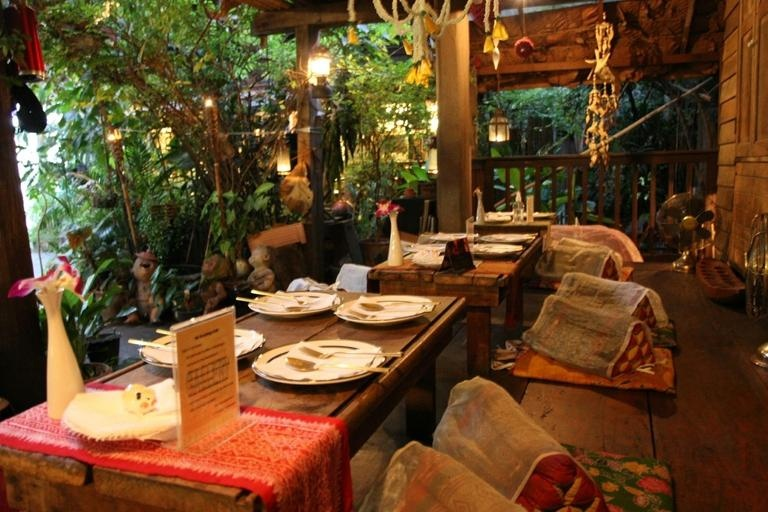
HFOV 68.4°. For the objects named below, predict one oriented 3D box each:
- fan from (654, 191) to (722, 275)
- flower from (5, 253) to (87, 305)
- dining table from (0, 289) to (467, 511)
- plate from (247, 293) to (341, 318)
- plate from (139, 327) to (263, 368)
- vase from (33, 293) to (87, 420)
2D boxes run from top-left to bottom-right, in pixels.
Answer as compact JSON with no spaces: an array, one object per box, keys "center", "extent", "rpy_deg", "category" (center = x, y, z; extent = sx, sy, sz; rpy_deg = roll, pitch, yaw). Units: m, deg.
[{"center":[3.036,-0.257,5.727],"extent":[0.480,0.792,0.488],"rpy_deg":[4,14,26],"category":"fan"},{"center":[-1.098,0.083,1.892],"extent":[0.223,0.122,0.227],"rpy_deg":[-12,-3,-19],"category":"flower"},{"center":[-0.405,0.506,2.210],"extent":[0.965,0.358,1.681],"rpy_deg":[6,14,32],"category":"dining table"},{"center":[-0.419,0.229,2.589],"extent":[0.192,0.037,0.206],"rpy_deg":[5,13,2],"category":"plate"},{"center":[-0.748,0.346,2.117],"extent":[0.250,0.046,0.262],"rpy_deg":[0,6,6],"category":"plate"},{"center":[-1.042,0.316,1.808],"extent":[0.109,0.415,0.160],"rpy_deg":[-10,15,-34],"category":"vase"}]
